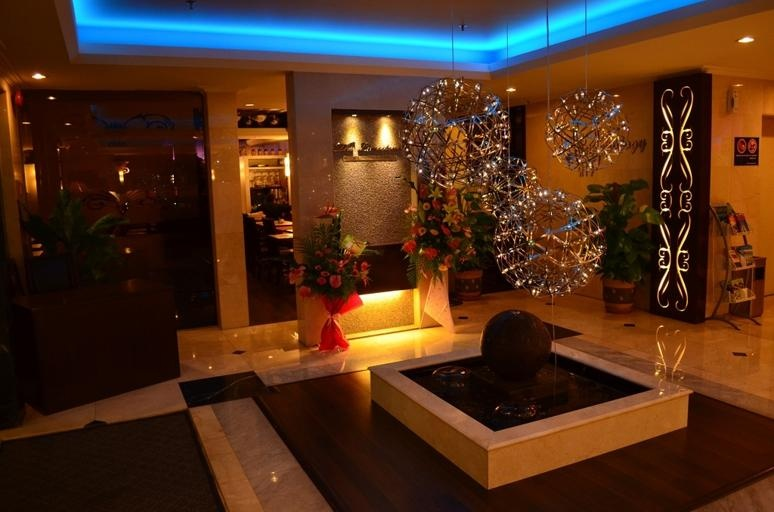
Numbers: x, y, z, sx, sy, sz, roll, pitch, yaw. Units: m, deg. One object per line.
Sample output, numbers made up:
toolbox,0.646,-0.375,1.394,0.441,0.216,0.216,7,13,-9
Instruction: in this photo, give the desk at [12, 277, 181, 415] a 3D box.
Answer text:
desk,-3.377,0.993,6.506,0.828,1.082,1.573,7,11,40

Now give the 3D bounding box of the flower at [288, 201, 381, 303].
flower,-0.780,0.061,7.740,1.072,1.162,1.111,4,14,1

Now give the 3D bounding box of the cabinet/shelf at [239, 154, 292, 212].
cabinet/shelf,-3.401,-2.037,15.365,1.251,1.550,0.599,-3,9,-16

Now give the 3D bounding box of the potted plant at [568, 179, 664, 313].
potted plant,3.654,-0.166,8.624,1.043,2.050,0.967,3,9,21

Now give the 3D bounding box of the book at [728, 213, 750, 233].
book,5.159,-0.477,8.091,0.250,0.250,0.097,-25,3,-40

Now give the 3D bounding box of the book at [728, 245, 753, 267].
book,5.209,0.006,8.120,0.330,0.296,0.121,-4,1,-24
